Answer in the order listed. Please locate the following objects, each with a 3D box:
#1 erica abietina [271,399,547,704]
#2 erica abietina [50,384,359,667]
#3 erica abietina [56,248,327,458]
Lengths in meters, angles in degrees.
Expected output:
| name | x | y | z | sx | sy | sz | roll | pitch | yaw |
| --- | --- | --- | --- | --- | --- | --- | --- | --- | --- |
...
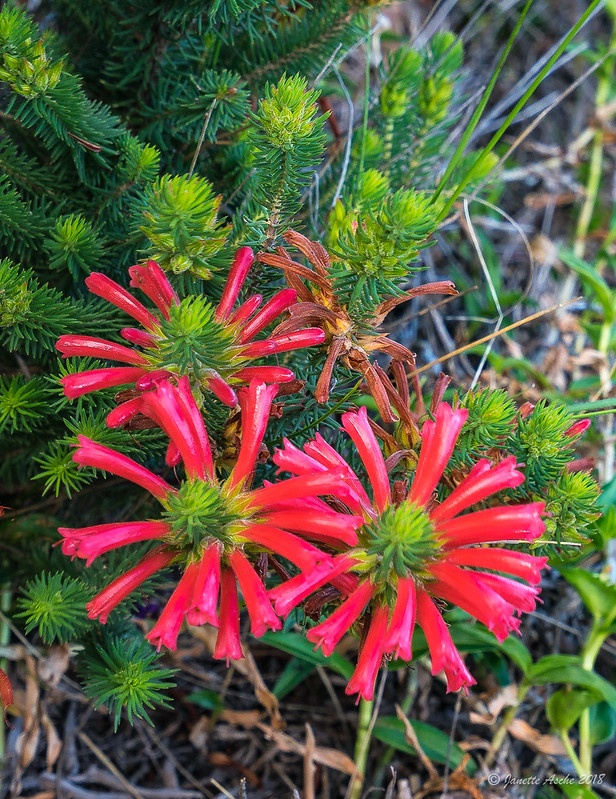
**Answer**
| name | x | y | z | sx | sy | sz | roll | pitch | yaw |
| --- | --- | --- | --- | --- | --- | --- | --- | --- | --- |
| erica abietina | 0.135 | 0.202 | 1.021 | 0.393 | 0.227 | 0.365 | -17 | 77 | -7 |
| erica abietina | -0.117 | 0.132 | 0.887 | 0.371 | 0.203 | 0.345 | 0 | 73 | -4 |
| erica abietina | -0.145 | -0.033 | 1.031 | 0.312 | 0.168 | 0.291 | -8 | 49 | -3 |
